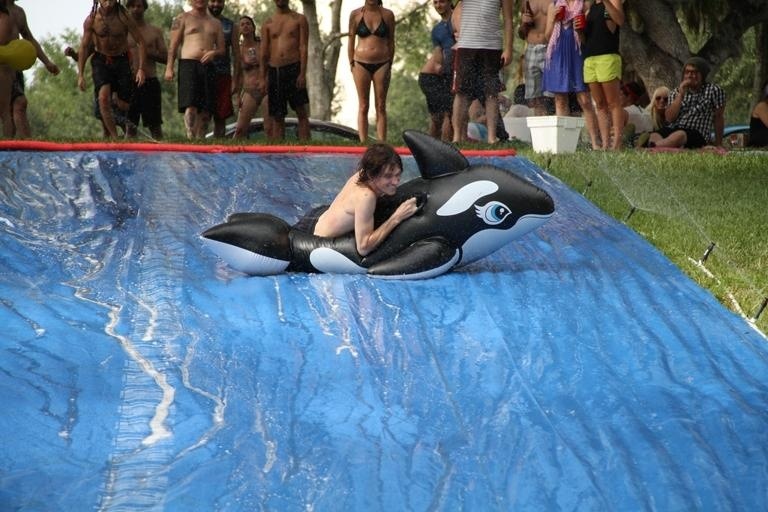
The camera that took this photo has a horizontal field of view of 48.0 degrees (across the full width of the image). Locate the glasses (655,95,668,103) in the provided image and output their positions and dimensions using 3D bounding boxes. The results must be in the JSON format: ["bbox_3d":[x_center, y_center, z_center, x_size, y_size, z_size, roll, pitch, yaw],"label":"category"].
[{"bbox_3d":[4.243,-2.423,13.217,0.167,0.068,0.218,3,3,5],"label":"glasses"}]

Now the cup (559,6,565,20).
[{"bbox_3d":[2.319,-3.201,11.324,0.126,0.135,0.132,3,-17,1],"label":"cup"}]

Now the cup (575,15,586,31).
[{"bbox_3d":[2.512,-3.020,11.134,0.145,0.157,0.151,-1,0,0],"label":"cup"}]

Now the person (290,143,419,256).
[{"bbox_3d":[-0.451,-0.491,7.993,1.410,0.876,0.784,-8,23,18],"label":"person"}]
